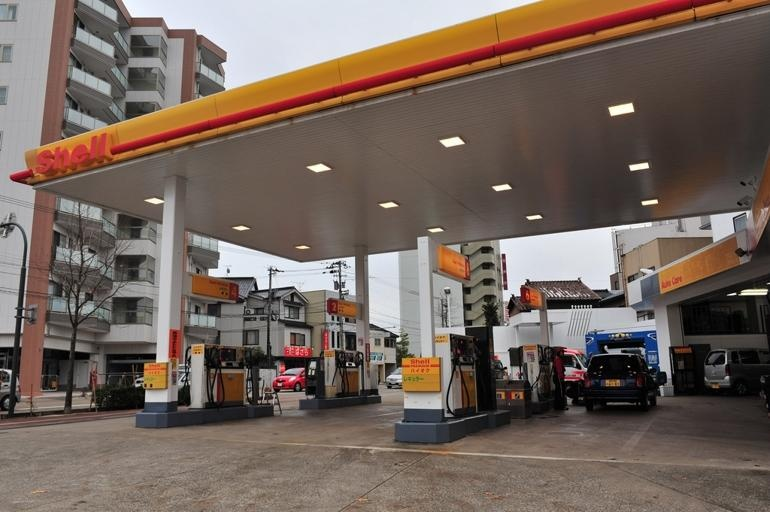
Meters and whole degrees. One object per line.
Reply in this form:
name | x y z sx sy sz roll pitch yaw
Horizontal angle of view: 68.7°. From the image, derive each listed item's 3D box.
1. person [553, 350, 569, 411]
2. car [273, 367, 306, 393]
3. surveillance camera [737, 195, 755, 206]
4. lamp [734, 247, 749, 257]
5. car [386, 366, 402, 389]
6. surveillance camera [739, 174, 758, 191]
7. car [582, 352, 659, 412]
person | 5.621 3.955 18.209 0.360 1.958 1.110 -4 -14 16
car | -5.754 7.508 34.214 1.715 1.416 2.481 2 -14 -11
surveillance camera | 10.273 -1.531 16.031 0.399 0.152 0.637 19 1 21
lamp | 10.251 -0.091 16.213 0.299 0.199 0.119 1 -4 0
car | 0.621 8.173 37.351 0.910 1.226 3.574 0 -14 0
surveillance camera | 9.758 -1.965 15.057 0.412 0.581 0.192 13 -42 44
car | 7.340 3.842 17.677 1.346 1.127 2.452 -4 -10 27
